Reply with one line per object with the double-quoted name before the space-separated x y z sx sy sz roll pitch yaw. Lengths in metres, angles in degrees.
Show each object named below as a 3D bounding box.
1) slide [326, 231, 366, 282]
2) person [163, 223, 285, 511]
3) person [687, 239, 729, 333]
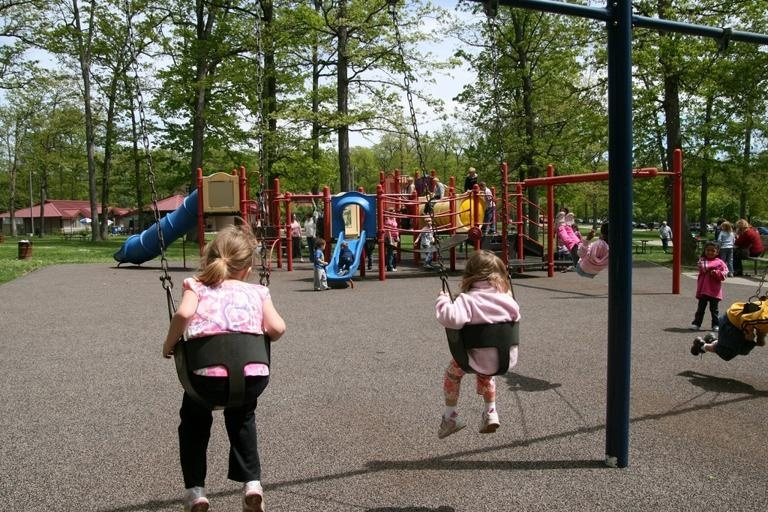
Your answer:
"slide" -0.959 0.028 18.516 0.894 1.289 2.380 -1 3 0
"person" -1.649 1.116 7.428 0.968 2.574 1.447 0 1 -18
"person" 5.466 0.486 11.999 0.546 1.405 0.451 -1 -8 36
